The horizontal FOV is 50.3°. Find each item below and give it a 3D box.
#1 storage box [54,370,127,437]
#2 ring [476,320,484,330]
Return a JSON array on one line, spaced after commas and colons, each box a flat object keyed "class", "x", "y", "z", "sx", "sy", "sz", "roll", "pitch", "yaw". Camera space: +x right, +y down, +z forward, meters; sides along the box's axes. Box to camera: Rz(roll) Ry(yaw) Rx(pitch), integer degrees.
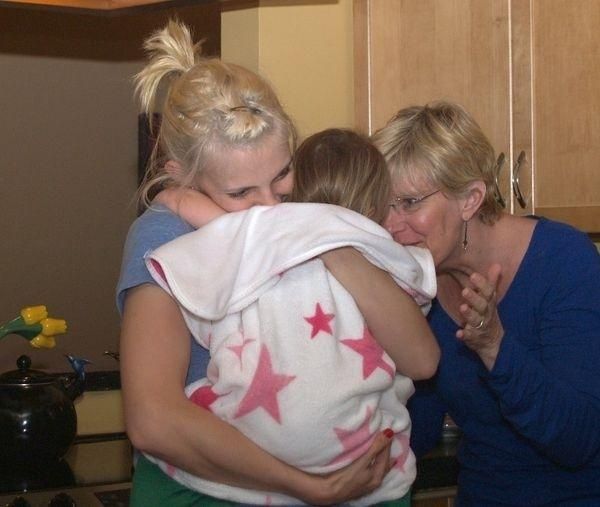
[{"class": "storage box", "x": -0.710, "y": 0.514, "z": 2.204, "sx": 0.195, "sy": 0.205, "sz": 0.120, "roll": -1, "pitch": -9, "yaw": 1}, {"class": "ring", "x": 0.407, "y": 0.162, "z": 1.449, "sx": 0.004, "sy": 0.018, "sz": 0.018, "roll": 39, "pitch": 23, "yaw": 17}]
